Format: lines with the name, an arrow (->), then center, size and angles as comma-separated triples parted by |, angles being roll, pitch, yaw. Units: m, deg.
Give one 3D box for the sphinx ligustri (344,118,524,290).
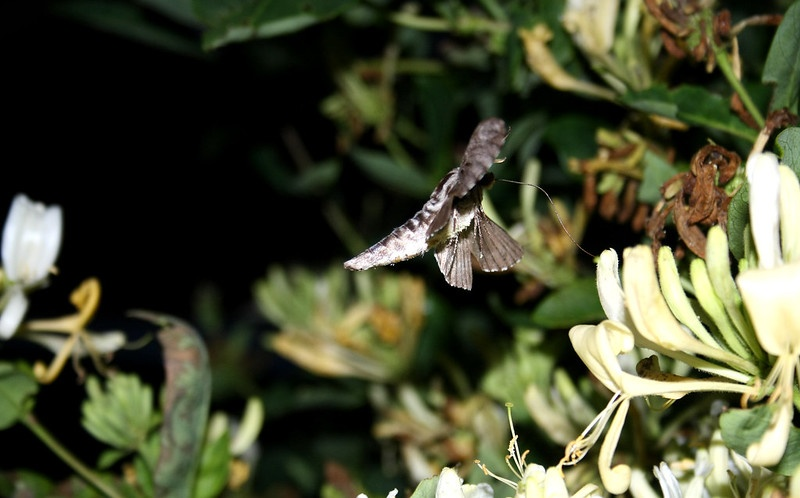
sphinx ligustri -> 0.051, -0.039, 1.222 | 0.223, 0.188, 0.234 | -15, -1, -6
